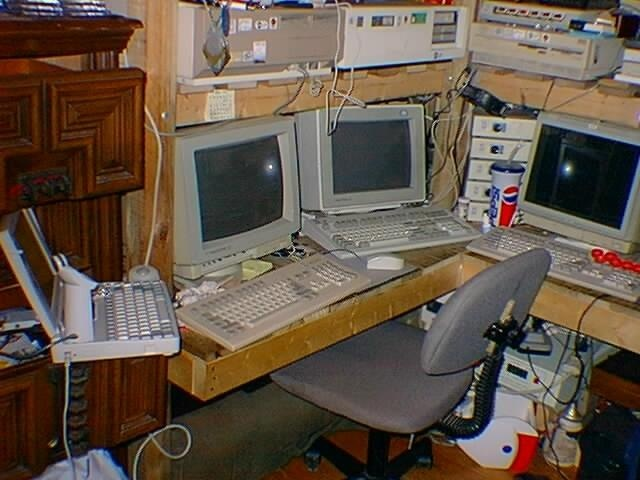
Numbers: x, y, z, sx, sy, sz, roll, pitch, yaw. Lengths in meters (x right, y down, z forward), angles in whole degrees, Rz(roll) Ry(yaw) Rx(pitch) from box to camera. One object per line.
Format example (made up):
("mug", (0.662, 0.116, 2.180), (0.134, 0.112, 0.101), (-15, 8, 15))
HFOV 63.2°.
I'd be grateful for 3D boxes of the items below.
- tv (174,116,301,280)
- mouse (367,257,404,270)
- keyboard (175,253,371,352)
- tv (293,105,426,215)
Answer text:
("tv", (-0.391, -0.201, 2.032), (0.341, 0.517, 0.574), (14, 25, 37))
("mouse", (0.250, 0.087, 1.969), (0.101, 0.033, 0.057), (2, 24, 7))
("keyboard", (-0.134, 0.192, 1.747), (0.635, 0.112, 0.251), (-14, 24, -38))
("tv", (0.179, -0.376, 2.424), (0.588, 0.443, 0.324), (-8, 12, -26))
